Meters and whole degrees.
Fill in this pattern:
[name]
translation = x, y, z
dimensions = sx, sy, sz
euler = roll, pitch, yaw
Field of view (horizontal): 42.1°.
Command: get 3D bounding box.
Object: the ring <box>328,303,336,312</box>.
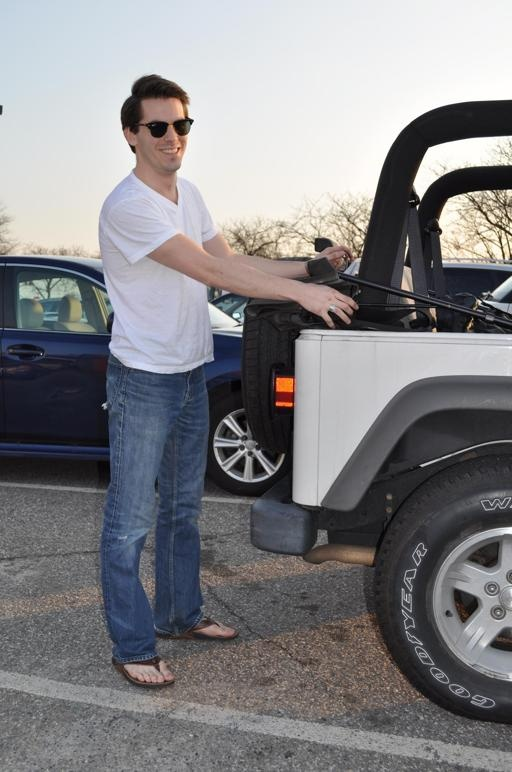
[ring]
translation = 0.229, -0.241, 2.032
dimensions = 0.021, 0.018, 0.036
euler = 0, -6, 20

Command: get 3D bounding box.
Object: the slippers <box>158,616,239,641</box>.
[slippers]
translation = -0.239, 0.989, 2.724
dimensions = 0.305, 0.082, 0.117
euler = -1, -2, -1

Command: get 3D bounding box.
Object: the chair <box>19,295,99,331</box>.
[chair]
translation = -1.409, -0.508, 4.758
dimensions = 0.496, 0.239, 0.281
euler = 0, 3, 7
